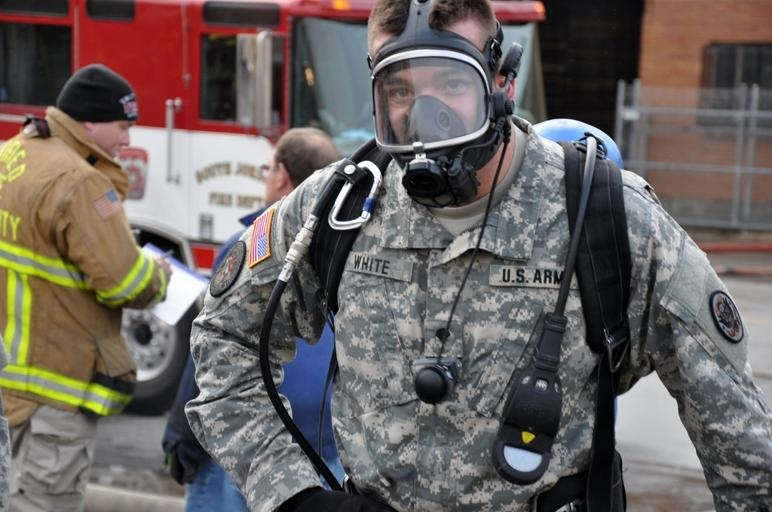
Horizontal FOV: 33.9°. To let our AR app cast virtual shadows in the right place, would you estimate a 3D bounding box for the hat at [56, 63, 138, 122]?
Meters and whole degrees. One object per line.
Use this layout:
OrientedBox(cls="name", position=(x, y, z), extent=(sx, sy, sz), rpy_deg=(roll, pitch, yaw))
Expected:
OrientedBox(cls="hat", position=(-1.871, -1.045, 8.220), extent=(0.544, 0.423, 0.407), rpy_deg=(8, 6, 28))
